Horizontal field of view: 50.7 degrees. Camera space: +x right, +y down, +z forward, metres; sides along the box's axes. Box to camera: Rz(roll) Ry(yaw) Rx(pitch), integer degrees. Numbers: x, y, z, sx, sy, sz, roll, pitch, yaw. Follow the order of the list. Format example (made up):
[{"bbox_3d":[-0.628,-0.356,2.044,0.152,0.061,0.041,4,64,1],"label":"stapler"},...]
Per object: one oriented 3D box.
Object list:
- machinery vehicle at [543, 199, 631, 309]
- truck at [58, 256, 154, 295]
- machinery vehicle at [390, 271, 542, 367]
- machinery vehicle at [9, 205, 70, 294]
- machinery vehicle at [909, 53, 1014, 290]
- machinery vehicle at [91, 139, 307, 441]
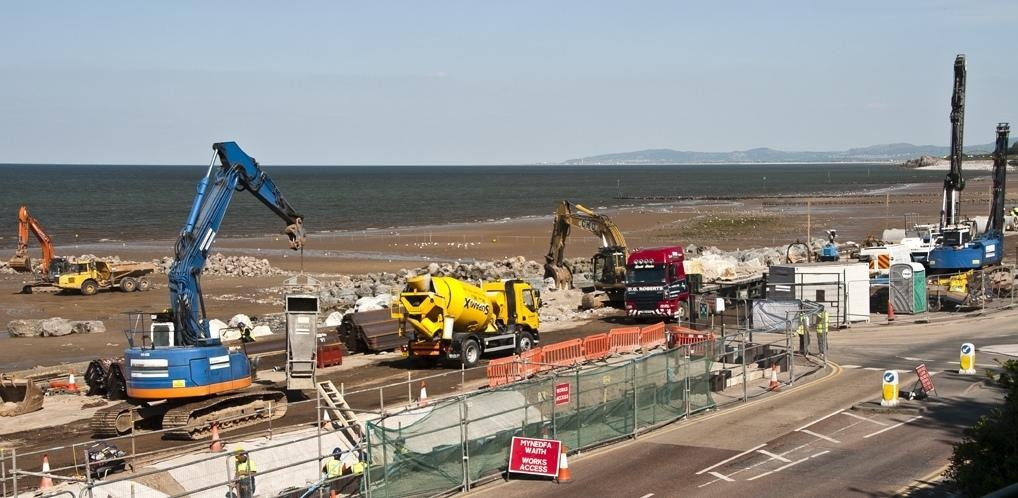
[{"bbox_3d":[7.905,0.343,97.056,12.558,7.942,4.623,9,12,39],"label":"machinery vehicle"},{"bbox_3d":[-39.798,2.601,105.332,8.319,2.770,3.637,1,-1,-29],"label":"truck"},{"bbox_3d":[-3.350,5.008,82.561,6.629,5.723,13.197,5,3,31],"label":"machinery vehicle"},{"bbox_3d":[-53.852,0.099,122.596,6.655,12.042,6.451,0,-1,-33],"label":"machinery vehicle"},{"bbox_3d":[41.286,-7.716,97.089,7.007,14.733,34.693,-6,1,23],"label":"machinery vehicle"},{"bbox_3d":[-20.953,2.491,75.670,9.960,18.896,17.762,8,7,28],"label":"machinery vehicle"}]
